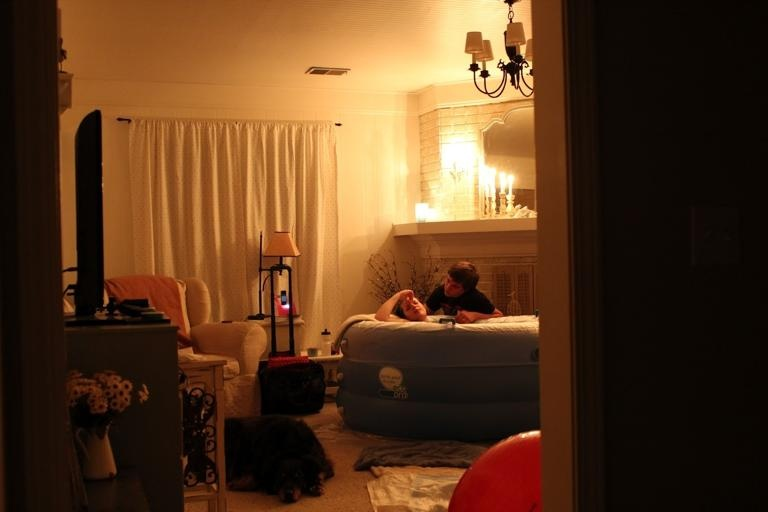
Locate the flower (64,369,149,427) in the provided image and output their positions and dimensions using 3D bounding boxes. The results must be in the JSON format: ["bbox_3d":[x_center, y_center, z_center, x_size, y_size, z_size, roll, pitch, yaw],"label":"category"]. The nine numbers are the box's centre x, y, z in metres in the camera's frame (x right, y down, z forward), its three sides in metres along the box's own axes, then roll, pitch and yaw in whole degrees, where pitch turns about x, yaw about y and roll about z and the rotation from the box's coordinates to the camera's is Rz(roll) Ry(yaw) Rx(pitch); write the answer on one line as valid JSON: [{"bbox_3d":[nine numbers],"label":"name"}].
[{"bbox_3d":[-0.875,0.434,2.175,0.145,0.174,0.211,-39,-26,28],"label":"flower"}]

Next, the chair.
[{"bbox_3d":[-1.215,0.531,4.850,0.991,1.292,1.076,-7,-9,38],"label":"chair"}]

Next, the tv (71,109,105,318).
[{"bbox_3d":[-1.063,-0.139,2.477,0.121,0.616,0.319,-3,2,-24],"label":"tv"}]

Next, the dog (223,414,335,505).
[{"bbox_3d":[-0.563,0.989,3.435,0.587,0.250,0.502,-3,1,10],"label":"dog"}]
